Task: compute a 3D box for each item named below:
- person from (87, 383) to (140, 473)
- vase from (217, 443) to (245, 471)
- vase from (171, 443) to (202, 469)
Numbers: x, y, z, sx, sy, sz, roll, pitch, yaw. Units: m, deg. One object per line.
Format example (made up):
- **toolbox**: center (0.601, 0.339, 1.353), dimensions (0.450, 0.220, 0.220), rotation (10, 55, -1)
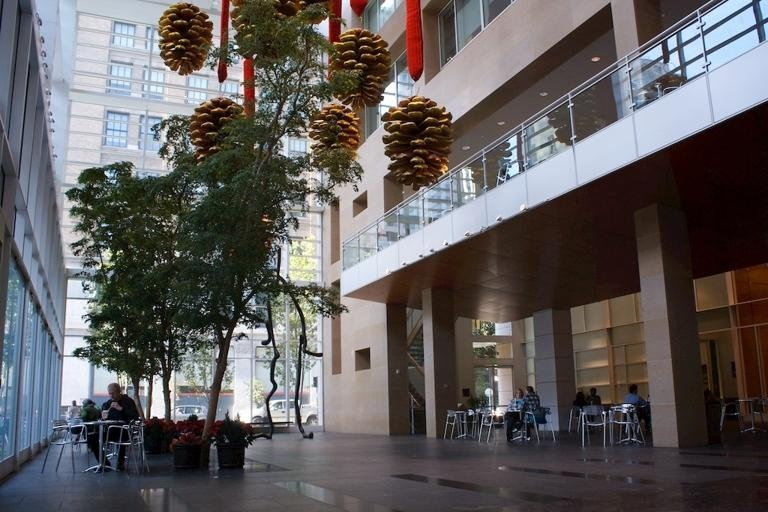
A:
- **person**: center (-7.275, 4.527, 16.770), dimensions (1.241, 1.993, 1.112), rotation (-7, -11, 18)
- **vase**: center (-3.939, 5.193, 15.973), dimensions (0.626, 0.461, 0.626), rotation (-7, -20, 13)
- **vase**: center (-5.062, 5.141, 15.935), dimensions (0.655, 0.460, 0.655), rotation (-4, -21, 18)
